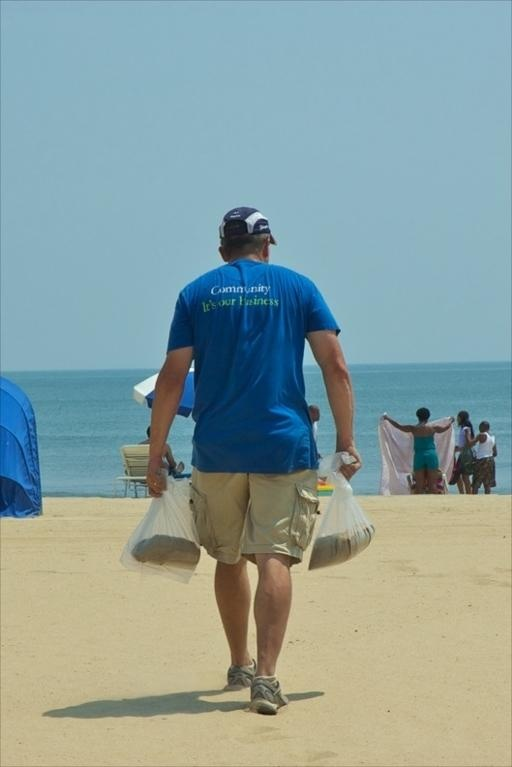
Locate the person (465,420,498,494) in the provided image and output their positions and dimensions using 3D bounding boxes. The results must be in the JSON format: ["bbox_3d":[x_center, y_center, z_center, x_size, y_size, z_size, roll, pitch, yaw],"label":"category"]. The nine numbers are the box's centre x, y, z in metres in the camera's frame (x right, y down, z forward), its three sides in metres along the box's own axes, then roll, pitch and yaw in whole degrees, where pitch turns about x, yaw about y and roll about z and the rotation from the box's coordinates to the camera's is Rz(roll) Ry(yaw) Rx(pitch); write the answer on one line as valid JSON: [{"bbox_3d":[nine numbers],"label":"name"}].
[{"bbox_3d":[2.692,0.917,13.973,0.281,0.876,1.762,2,0,11],"label":"person"}]

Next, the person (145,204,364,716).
[{"bbox_3d":[-0.045,0.229,4.319,0.736,1.778,0.563,2,0,37],"label":"person"}]

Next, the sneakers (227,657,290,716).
[{"bbox_3d":[0.005,1.073,4.086,0.095,0.121,0.274,0,-17,12],"label":"sneakers"}]

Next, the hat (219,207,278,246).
[{"bbox_3d":[-0.014,-0.579,4.502,0.206,0.168,0.306,4,8,25],"label":"hat"}]
